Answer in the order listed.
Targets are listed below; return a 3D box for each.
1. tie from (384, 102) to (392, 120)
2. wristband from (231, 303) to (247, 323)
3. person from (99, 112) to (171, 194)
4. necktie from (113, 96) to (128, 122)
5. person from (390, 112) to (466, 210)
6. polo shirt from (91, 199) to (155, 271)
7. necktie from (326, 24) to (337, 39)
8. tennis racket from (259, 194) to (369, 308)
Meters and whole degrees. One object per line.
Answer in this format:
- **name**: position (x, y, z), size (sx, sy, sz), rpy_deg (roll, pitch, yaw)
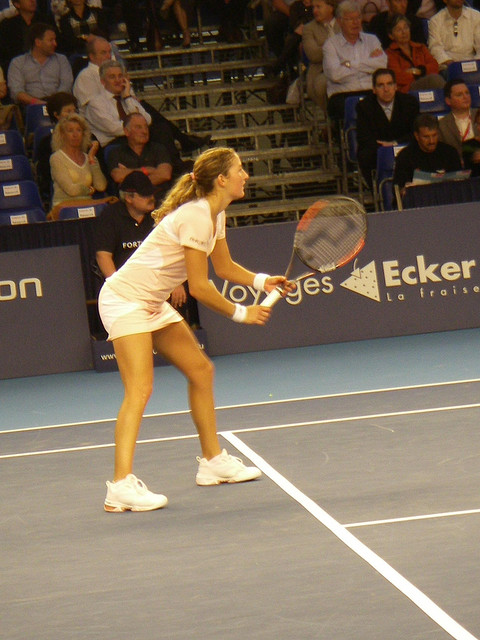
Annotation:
- **tie**: position (1.995, -2.847, 8.680), size (0.062, 0.112, 0.162), rpy_deg (-3, -27, 19)
- **wristband**: position (0.012, -0.042, 2.888), size (0.071, 0.074, 0.068), rpy_deg (20, -27, -12)
- **person**: position (-1.246, -2.006, 7.909), size (0.871, 1.049, 0.582), rpy_deg (-10, 24, -15)
- **necktie**: position (-1.620, -2.884, 8.689), size (0.114, 0.284, 0.099), rpy_deg (-8, 3, -39)
- **person**: position (2.148, -1.996, 7.622), size (1.068, 0.601, 0.285), rpy_deg (-6, 2, -34)
- **polo shirt**: position (-1.028, -0.805, 6.224), size (0.796, 0.671, 0.384), rpy_deg (-3, -3, -29)
- **necktie**: position (1.424, -4.564, 10.089), size (0.114, 0.241, 0.154), rpy_deg (-4, 3, 28)
- **tennis racket**: position (0.235, -0.431, 3.666), size (0.102, 0.337, 1.281), rpy_deg (-3, -4, -41)
